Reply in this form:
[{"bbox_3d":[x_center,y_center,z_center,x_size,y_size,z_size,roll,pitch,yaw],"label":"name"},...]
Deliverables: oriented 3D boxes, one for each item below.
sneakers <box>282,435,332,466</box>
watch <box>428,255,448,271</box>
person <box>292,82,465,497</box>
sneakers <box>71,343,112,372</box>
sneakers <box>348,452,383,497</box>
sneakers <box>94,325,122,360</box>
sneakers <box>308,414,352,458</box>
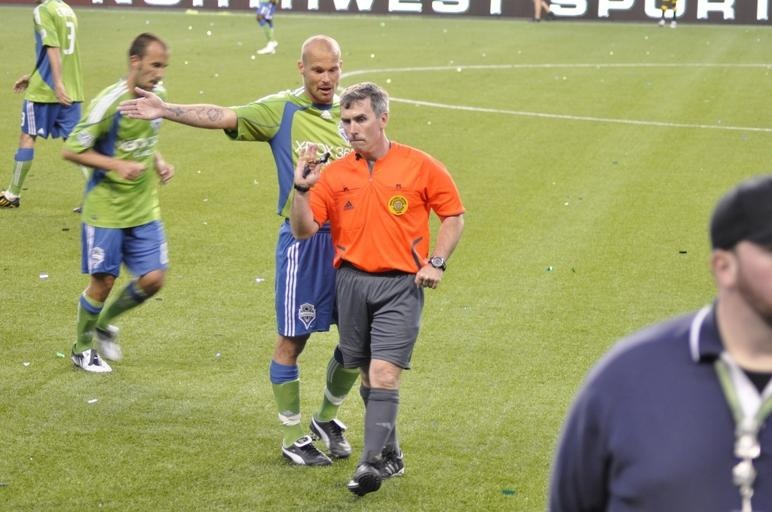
[{"bbox_3d":[-0.502,1.215,5.416,0.339,0.131,0.136,5,9,30],"label":"sneakers"},{"bbox_3d":[0.304,0.042,5.013,0.103,0.067,0.097,17,-19,-6],"label":"watch"},{"bbox_3d":[-0.131,0.203,5.047,0.872,2.326,0.866,11,18,18],"label":"person"},{"bbox_3d":[-2.156,0.740,6.283,0.287,0.136,0.149,8,13,17],"label":"sneakers"},{"bbox_3d":[-0.124,1.262,4.908,0.120,0.307,0.142,45,36,3],"label":"sneakers"},{"bbox_3d":[-2.057,0.637,6.403,0.331,0.146,0.112,27,23,21],"label":"sneakers"},{"bbox_3d":[-0.329,1.160,5.568,0.368,0.161,0.135,37,22,32],"label":"sneakers"}]
